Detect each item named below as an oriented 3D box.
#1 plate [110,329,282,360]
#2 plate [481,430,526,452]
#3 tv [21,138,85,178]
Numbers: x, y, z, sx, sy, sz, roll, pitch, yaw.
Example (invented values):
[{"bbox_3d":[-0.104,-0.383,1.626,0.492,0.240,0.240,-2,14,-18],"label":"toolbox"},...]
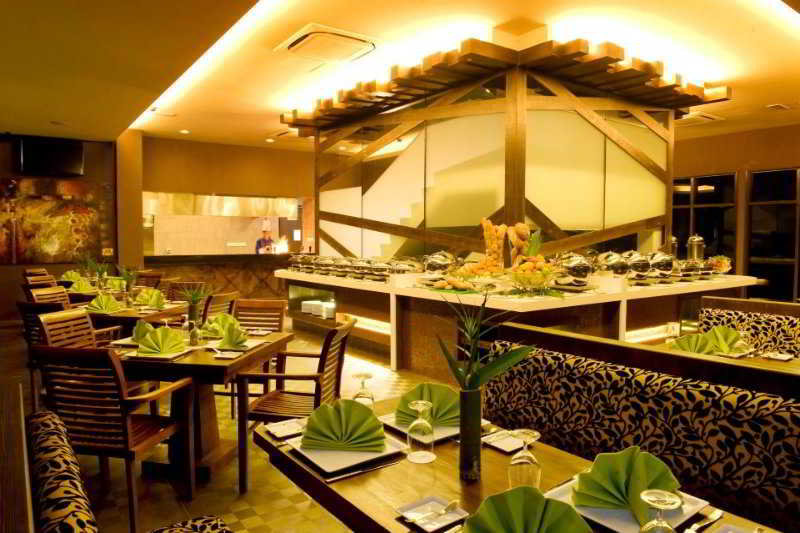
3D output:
[{"bbox_3d":[-1.617,0.564,4.217,1.188,0.215,0.656,-2,4,-18],"label":"plate"},{"bbox_3d":[0.559,0.947,2.930,0.189,0.023,0.183,-5,5,-39],"label":"plate"},{"bbox_3d":[-6.541,-2.002,10.373,1.133,0.805,0.600,1,2,-16],"label":"tv"}]
